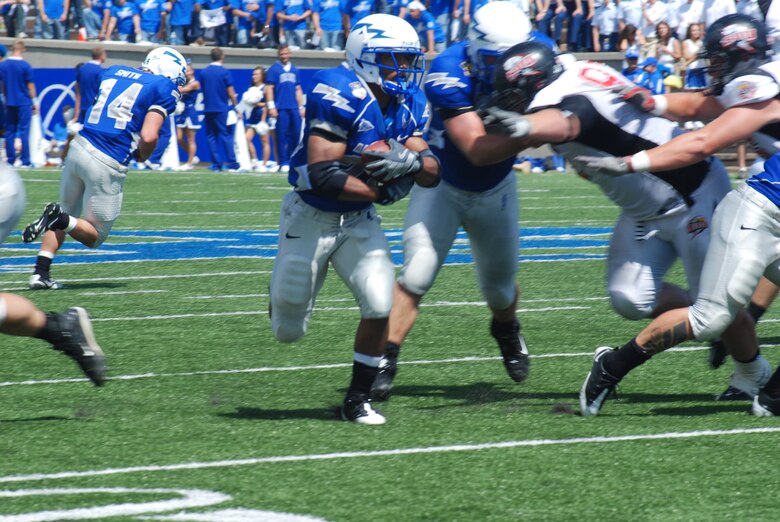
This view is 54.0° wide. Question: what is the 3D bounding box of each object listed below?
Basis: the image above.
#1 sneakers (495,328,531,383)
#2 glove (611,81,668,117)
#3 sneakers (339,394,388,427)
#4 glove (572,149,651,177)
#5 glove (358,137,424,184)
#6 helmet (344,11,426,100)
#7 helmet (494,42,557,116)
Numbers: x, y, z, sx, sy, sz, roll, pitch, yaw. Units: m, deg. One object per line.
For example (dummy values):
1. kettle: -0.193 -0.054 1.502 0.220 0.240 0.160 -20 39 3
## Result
1. sneakers: 0.692 0.537 4.337 0.142 0.309 0.152 -31 -26 16
2. glove: 1.209 -0.774 3.690 0.251 0.067 0.166 17 8 -6
3. sneakers: -0.125 0.718 3.687 0.273 0.076 0.114 2 8 23
4. glove: 1.025 -0.441 3.485 0.419 0.105 0.089 -9 54 1
5. glove: 0.021 -0.459 3.537 0.277 0.190 0.111 -3 15 -10
6. helmet: -0.024 -0.997 3.704 0.370 0.393 0.301 -1 15 -2
7. helmet: 0.665 -0.900 3.765 0.325 0.344 0.230 0 15 5
